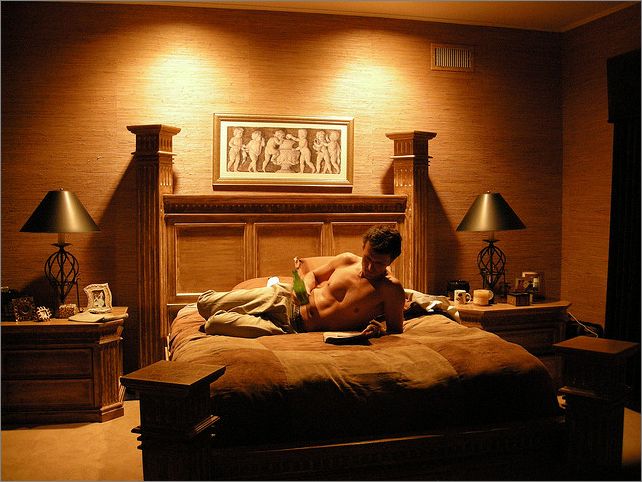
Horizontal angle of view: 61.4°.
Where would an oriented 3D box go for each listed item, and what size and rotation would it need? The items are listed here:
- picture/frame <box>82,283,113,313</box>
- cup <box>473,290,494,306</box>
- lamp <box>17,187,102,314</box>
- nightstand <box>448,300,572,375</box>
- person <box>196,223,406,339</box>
[{"bbox_3d":[-1.774,0.452,4.272,0.258,0.255,0.045,-8,-32,-27],"label":"picture/frame"},{"bbox_3d":[1.368,0.478,4.460,0.175,0.097,0.124,3,-4,-35],"label":"cup"},{"bbox_3d":[-2.035,0.066,4.266,0.539,0.939,0.535,-1,2,-16],"label":"lamp"},{"bbox_3d":[1.822,0.974,4.871,0.969,0.504,0.878,1,-13,20],"label":"nightstand"},{"bbox_3d":[-0.130,0.297,3.729,1.430,0.652,0.890,1,13,-25],"label":"person"}]
